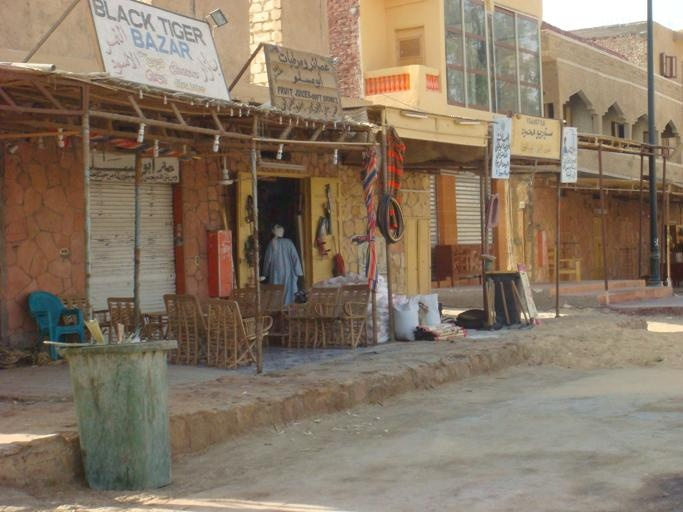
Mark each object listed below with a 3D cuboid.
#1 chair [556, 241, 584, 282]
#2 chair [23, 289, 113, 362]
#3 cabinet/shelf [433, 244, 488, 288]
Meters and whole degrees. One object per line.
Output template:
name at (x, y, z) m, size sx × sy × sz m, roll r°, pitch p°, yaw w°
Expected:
chair at (7.639, 0.212, 27.755) m, size 0.697 × 1.259 × 0.856 m, roll 4°, pitch 0°, yaw 17°
chair at (-4.085, 0.986, 12.134) m, size 0.771 × 0.853 × 1.002 m, roll -3°, pitch 9°, yaw -30°
cabinet/shelf at (3.413, 0.251, 24.689) m, size 1.973 × 1.205 × 0.620 m, roll -3°, pitch 9°, yaw -33°
